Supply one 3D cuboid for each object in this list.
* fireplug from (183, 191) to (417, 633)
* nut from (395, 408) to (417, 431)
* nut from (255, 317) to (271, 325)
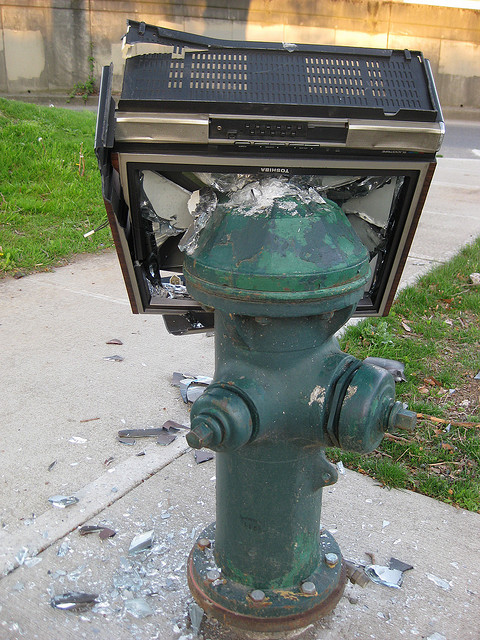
[{"bbox_3d":[0.124,0.307,1.513,0.575,1.274,0.503,-4,21,-9],"label":"fireplug"},{"bbox_3d":[0.416,0.248,1.357,0.054,0.052,0.052,1,62,22],"label":"nut"},{"bbox_3d":[0.055,0.000,1.292,0.026,0.017,0.032,3,-1,5],"label":"nut"}]
